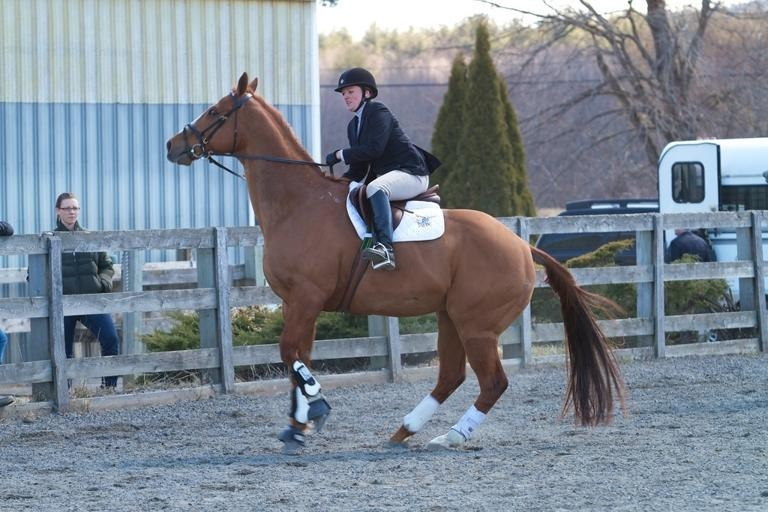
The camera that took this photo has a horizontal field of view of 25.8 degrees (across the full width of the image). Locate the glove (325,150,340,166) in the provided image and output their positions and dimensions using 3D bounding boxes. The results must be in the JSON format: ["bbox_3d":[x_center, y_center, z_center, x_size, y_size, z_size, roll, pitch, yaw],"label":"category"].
[{"bbox_3d":[-0.828,-1.558,27.075,0.244,0.279,0.355,0,4,-2],"label":"glove"}]

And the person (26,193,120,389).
[{"bbox_3d":[-5.213,0.650,29.229,1.064,3.430,0.858,-1,3,-11],"label":"person"}]

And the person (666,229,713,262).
[{"bbox_3d":[5.938,-0.163,32.312,0.982,0.974,0.554,1,2,-8],"label":"person"}]

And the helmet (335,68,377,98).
[{"bbox_3d":[-0.460,-2.826,27.156,0.547,0.345,0.434,6,-13,-32],"label":"helmet"}]
